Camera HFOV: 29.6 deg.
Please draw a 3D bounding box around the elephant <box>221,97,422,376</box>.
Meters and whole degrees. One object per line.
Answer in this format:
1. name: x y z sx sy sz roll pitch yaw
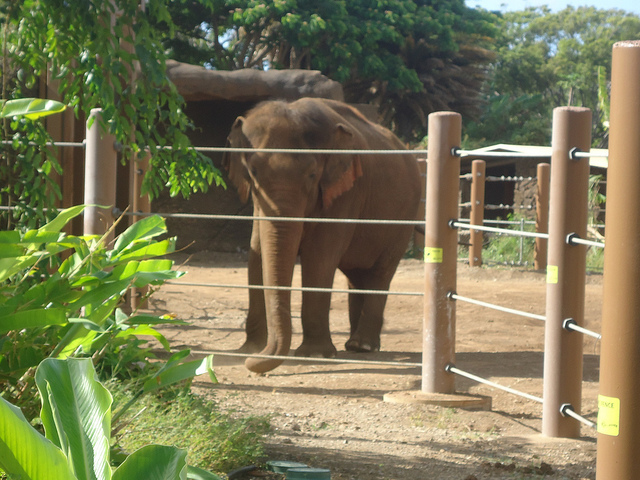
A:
1. elephant: -0.020 -0.021 8.640 0.895 1.859 2.743 1 -1 26
